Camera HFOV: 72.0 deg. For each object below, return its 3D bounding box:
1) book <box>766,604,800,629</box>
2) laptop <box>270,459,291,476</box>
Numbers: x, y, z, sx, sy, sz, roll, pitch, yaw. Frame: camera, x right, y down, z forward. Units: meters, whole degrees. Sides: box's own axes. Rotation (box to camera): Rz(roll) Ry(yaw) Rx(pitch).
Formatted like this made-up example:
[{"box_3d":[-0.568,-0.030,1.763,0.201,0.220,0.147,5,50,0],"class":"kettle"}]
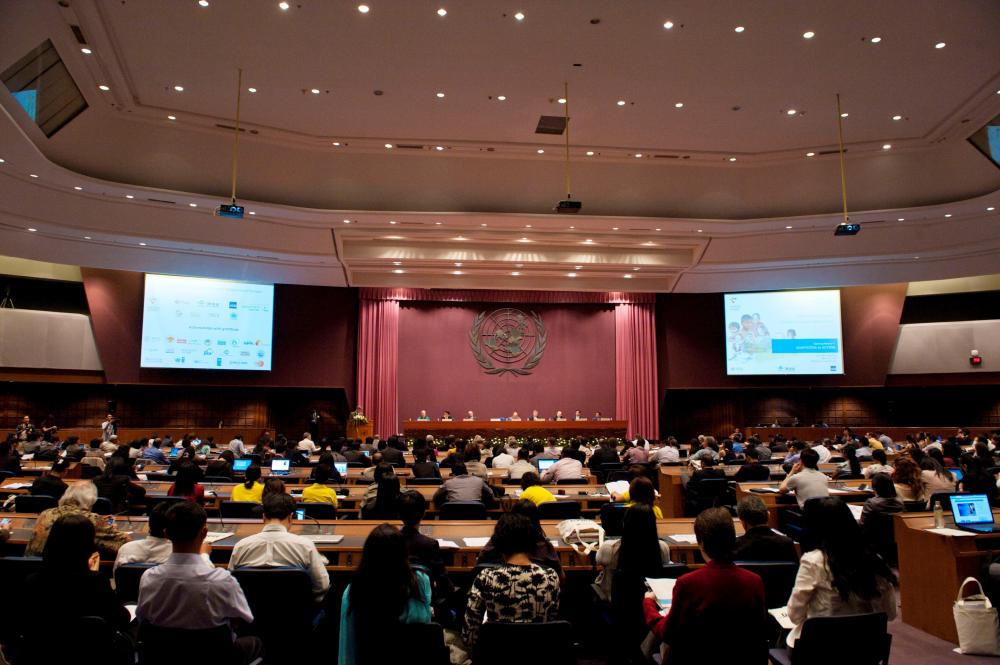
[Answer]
[{"box_3d":[2.370,2.396,5.766,0.235,0.073,0.259,-4,-6,-10],"class":"book"},{"box_3d":[-3.834,2.354,12.020,0.293,0.230,0.256,2,-8,-6],"class":"laptop"}]
